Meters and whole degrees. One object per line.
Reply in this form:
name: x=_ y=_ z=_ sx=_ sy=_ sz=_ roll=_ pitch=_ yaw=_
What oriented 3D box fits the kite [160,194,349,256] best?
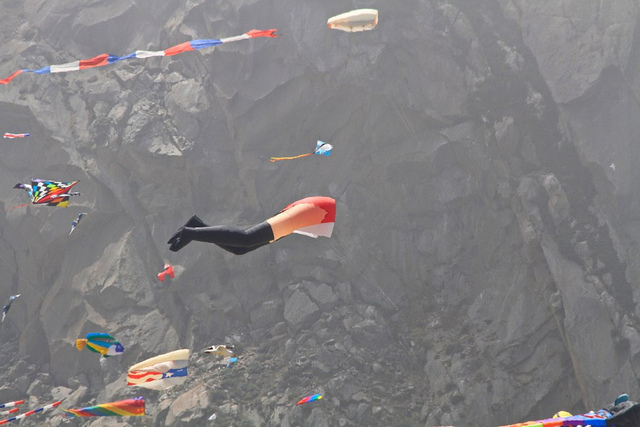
kite: x=-1.867 y=0.574 z=38.913 sx=3.745 sy=3.377 sz=1.043 roll=-8 pitch=76 yaw=-16

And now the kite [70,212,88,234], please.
kite: x=-9.149 y=0.350 z=45.539 sx=0.522 sy=0.186 sz=0.724 roll=35 pitch=83 yaw=6

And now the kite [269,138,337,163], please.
kite: x=-0.590 y=-2.279 z=44.976 sx=2.041 sy=0.362 sz=0.967 roll=-12 pitch=61 yaw=6

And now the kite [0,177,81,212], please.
kite: x=-9.737 y=-0.349 z=43.188 sx=2.230 sy=0.743 sz=1.292 roll=-11 pitch=37 yaw=-21

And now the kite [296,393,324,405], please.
kite: x=-0.187 y=6.684 z=43.288 sx=1.364 sy=0.405 sz=0.340 roll=-6 pitch=66 yaw=7

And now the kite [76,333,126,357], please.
kite: x=-7.831 y=4.794 z=43.459 sx=1.286 sy=0.721 sz=0.349 roll=14 pitch=28 yaw=-23

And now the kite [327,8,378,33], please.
kite: x=1.207 y=-6.521 z=41.401 sx=1.234 sy=0.468 sz=0.868 roll=-4 pitch=10 yaw=30

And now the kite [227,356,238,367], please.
kite: x=-3.208 y=5.351 z=43.739 sx=0.356 sy=0.170 sz=0.524 roll=-5 pitch=75 yaw=8

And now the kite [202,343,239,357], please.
kite: x=-3.564 y=4.862 z=43.761 sx=0.825 sy=0.845 sz=0.318 roll=-2 pitch=76 yaw=32

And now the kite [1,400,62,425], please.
kite: x=-10.373 y=7.252 z=43.466 sx=1.722 sy=0.724 sz=1.226 roll=1 pitch=8 yaw=-36

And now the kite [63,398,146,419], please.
kite: x=-7.533 y=6.974 z=42.908 sx=1.985 sy=0.615 sz=0.555 roll=-2 pitch=40 yaw=-12

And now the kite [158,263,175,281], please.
kite: x=-5.723 y=2.235 z=44.825 sx=0.578 sy=0.637 sz=0.413 roll=-16 pitch=40 yaw=1
